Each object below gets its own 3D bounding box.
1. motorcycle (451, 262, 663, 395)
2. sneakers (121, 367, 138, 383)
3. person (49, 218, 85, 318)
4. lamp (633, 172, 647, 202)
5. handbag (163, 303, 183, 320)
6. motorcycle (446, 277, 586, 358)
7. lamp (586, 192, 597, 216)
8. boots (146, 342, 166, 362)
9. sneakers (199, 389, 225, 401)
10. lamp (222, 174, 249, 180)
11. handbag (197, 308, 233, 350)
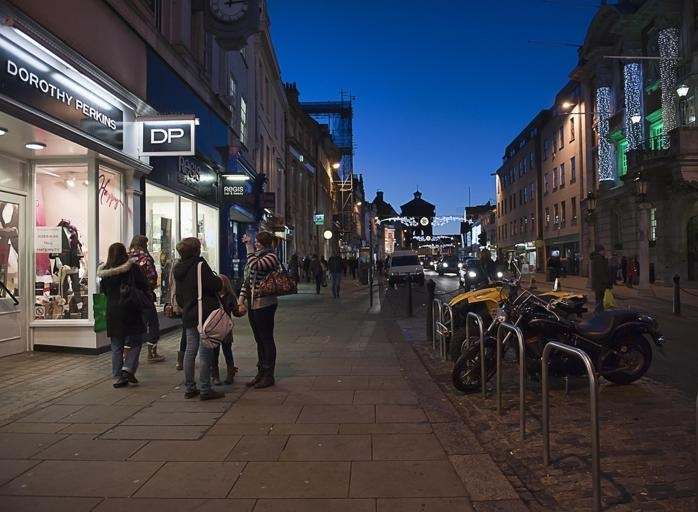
[{"bbox_3d":[3.052,0.982,8.610,2.715,1.490,1.453,0,1,-7],"label":"motorcycle"},{"bbox_3d":[-3.258,1.795,8.815,0.108,0.315,0.122,-23,42,-2],"label":"sneakers"},{"bbox_3d":[-5.202,0.226,10.994,0.569,1.745,0.281,1,5,15],"label":"person"},{"bbox_3d":[10.238,-2.397,20.736,0.336,1.045,1.618,2,5,24],"label":"lamp"},{"bbox_3d":[-2.679,0.841,9.036,0.213,0.240,0.235,7,-11,-40],"label":"handbag"},{"bbox_3d":[2.723,1.101,9.553,2.289,1.512,1.368,-2,2,2],"label":"motorcycle"},{"bbox_3d":[11.051,-2.400,26.916,0.314,1.016,2.176,2,5,20],"label":"lamp"},{"bbox_3d":[-3.338,1.673,10.412,0.389,0.416,0.206,-3,6,-34],"label":"boots"},{"bbox_3d":[-1.900,1.923,8.296,0.379,0.194,0.138,0,3,-19],"label":"sneakers"},{"bbox_3d":[-3.700,-2.601,19.680,0.425,0.211,0.832,5,7,44],"label":"lamp"},{"bbox_3d":[-1.863,0.983,8.187,0.227,0.438,0.466,-2,43,37],"label":"handbag"}]
